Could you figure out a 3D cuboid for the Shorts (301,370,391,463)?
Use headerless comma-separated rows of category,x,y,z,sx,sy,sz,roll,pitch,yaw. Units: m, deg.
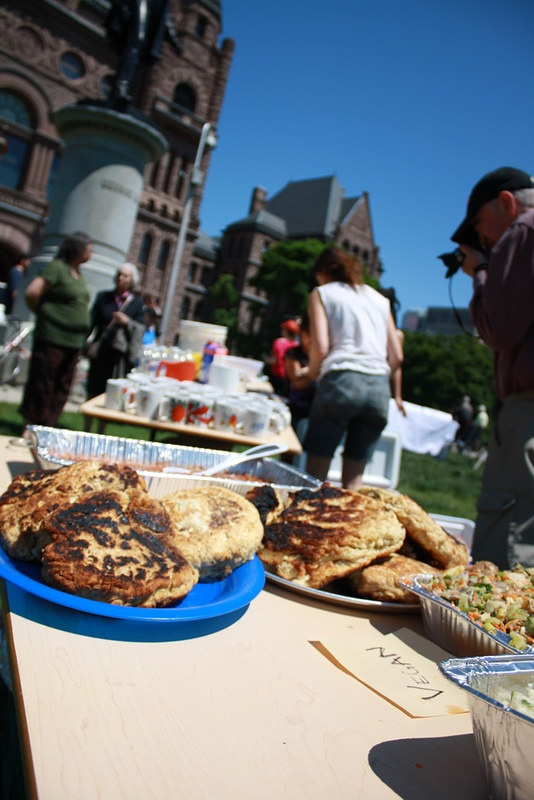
Shorts,0.411,0.072,2.806,0.345,0.476,0.266,10,4,-15

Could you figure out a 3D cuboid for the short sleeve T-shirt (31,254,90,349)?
short sleeve T-shirt,-1.456,-0.714,4.124,0.325,0.557,0.562,9,0,12

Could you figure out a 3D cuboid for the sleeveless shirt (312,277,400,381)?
sleeveless shirt,0.398,-0.311,2.772,0.508,0.475,0.291,-1,-14,-23

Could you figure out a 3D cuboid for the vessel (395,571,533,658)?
vessel,0.240,0.290,0.723,0.090,0.042,0.139,22,1,-24

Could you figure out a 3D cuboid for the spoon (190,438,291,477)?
spoon,-0.057,0.134,1.367,0.301,0.046,0.067,-16,48,-43

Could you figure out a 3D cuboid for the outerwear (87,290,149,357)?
outerwear,-1.257,-0.614,4.760,0.472,0.623,0.364,11,-7,-3
